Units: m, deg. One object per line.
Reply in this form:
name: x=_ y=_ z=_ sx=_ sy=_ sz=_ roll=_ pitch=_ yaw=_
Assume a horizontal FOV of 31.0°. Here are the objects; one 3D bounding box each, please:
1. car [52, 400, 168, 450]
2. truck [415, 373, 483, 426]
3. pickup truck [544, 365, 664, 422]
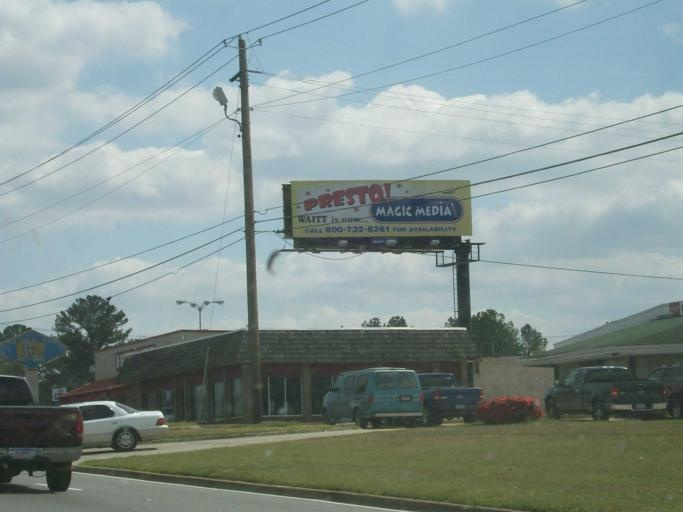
car: x=-7.628 y=5.847 z=42.136 sx=4.186 sy=1.517 sz=1.706 roll=4 pitch=-5 yaw=-4
truck: x=4.165 y=5.345 z=46.687 sx=2.058 sy=1.980 sz=2.586 roll=3 pitch=-10 yaw=-5
pickup truck: x=9.340 y=4.909 z=45.151 sx=3.766 sy=2.045 sz=3.477 roll=1 pitch=-11 yaw=-17
